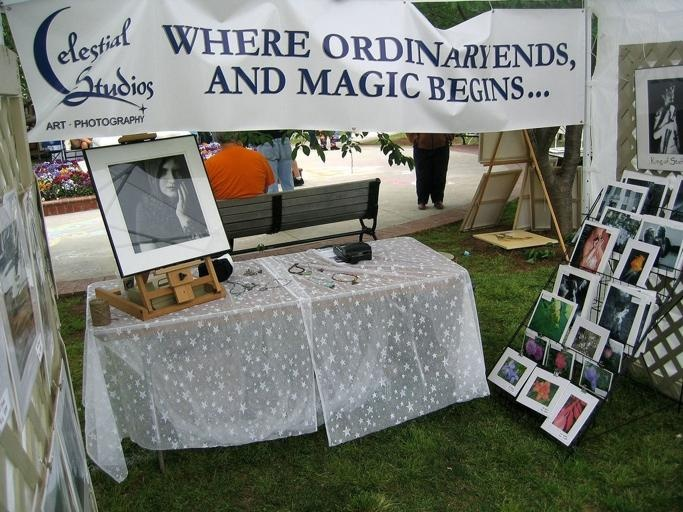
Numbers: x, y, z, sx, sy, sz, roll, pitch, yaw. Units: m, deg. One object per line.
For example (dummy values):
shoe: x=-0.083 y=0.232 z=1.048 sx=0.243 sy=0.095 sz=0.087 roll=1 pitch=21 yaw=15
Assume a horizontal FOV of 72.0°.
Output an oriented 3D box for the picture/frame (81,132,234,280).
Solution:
picture/frame: x=-1.174 y=-0.394 z=3.135 sx=0.672 sy=1.034 sz=0.582 roll=-11 pitch=50 yaw=-12

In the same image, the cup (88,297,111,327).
cup: x=-1.514 y=0.362 z=2.946 sx=0.092 sy=0.108 sz=0.186 roll=3 pitch=38 yaw=-27

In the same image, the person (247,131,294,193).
person: x=-1.144 y=-1.678 z=8.657 sx=0.461 sy=1.211 sz=0.375 roll=-3 pitch=45 yaw=-7

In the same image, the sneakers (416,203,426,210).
sneakers: x=1.536 y=-0.948 z=9.030 sx=0.086 sy=0.128 sz=0.288 roll=1 pitch=8 yaw=5

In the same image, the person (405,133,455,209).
person: x=1.738 y=-1.707 z=8.755 sx=0.655 sy=0.694 sz=2.208 roll=-5 pitch=36 yaw=16

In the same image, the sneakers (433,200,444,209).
sneakers: x=1.859 y=-0.975 z=8.965 sx=0.084 sy=0.125 sz=0.263 roll=-4 pitch=13 yaw=1
